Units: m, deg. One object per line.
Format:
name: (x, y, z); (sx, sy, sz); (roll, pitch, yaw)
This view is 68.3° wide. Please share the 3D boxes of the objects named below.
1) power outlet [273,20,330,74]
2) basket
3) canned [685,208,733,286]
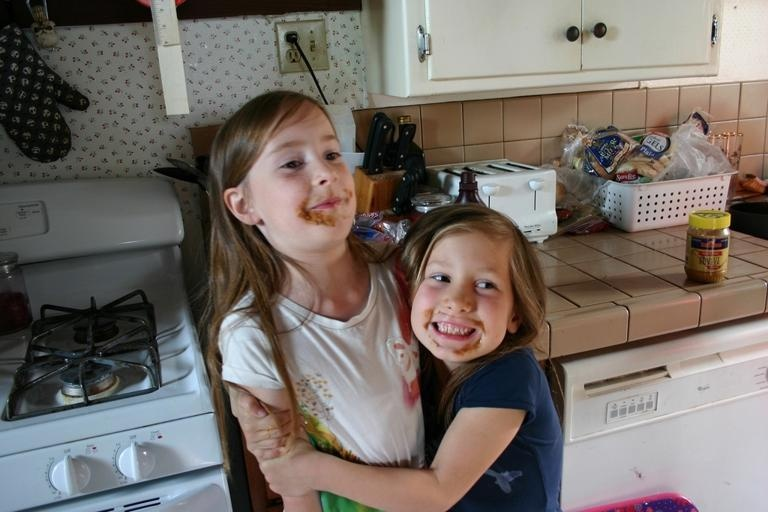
power outlet: (-0.288, -0.737, 1.974); (0.169, 0.188, 0.134); (7, 18, 9)
basket: (0.994, -0.193, 1.987); (0.428, 0.176, 0.137); (-5, 14, 2)
canned: (0.918, -0.024, 1.612); (0.103, 0.192, 0.071); (2, 16, 27)
